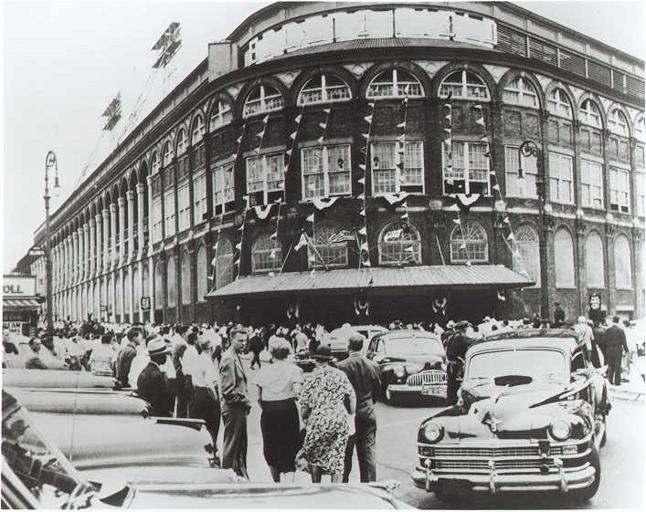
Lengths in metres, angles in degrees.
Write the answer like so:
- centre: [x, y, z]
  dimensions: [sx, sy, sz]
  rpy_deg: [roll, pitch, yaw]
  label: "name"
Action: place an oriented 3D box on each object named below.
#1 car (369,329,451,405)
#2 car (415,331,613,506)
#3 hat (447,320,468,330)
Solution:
- centre: [2.045, 2.594, 21.834]
  dimensions: [1.113, 0.998, 2.022]
  rpy_deg: [1, -6, -11]
  label: "car"
- centre: [3.818, 3.238, 18.511]
  dimensions: [3.463, 3.467, 1.381]
  rpy_deg: [-3, -7, 9]
  label: "car"
- centre: [3.122, 1.648, 21.341]
  dimensions: [0.330, 0.105, 0.336]
  rpy_deg: [-2, 0, -39]
  label: "hat"
